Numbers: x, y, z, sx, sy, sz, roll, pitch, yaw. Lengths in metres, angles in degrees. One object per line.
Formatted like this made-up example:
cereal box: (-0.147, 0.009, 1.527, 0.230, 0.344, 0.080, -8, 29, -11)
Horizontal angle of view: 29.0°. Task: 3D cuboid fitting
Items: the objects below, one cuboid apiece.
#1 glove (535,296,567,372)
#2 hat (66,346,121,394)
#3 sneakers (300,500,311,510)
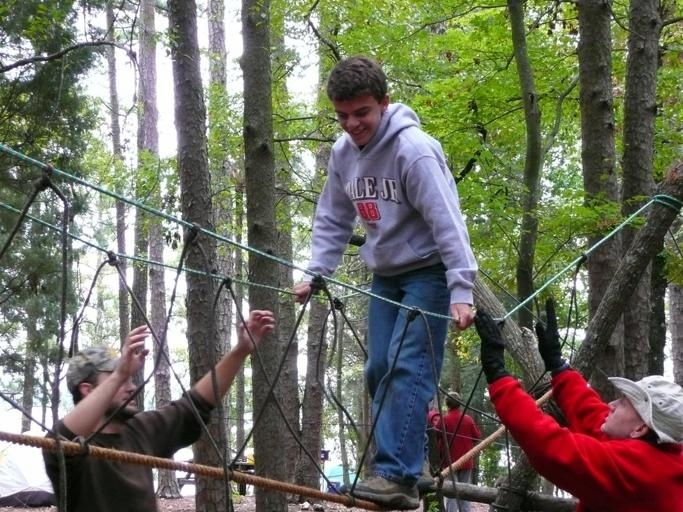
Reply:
glove: (2.331, 0.858, 14.877, 0.267, 0.747, 0.194, -2, -8, -26)
hat: (-2.765, 1.184, 14.631, 0.596, 0.302, 0.415, -36, 11, -7)
sneakers: (-0.570, 3.911, 20.739, 0.107, 0.136, 0.103, -1, -25, 2)
